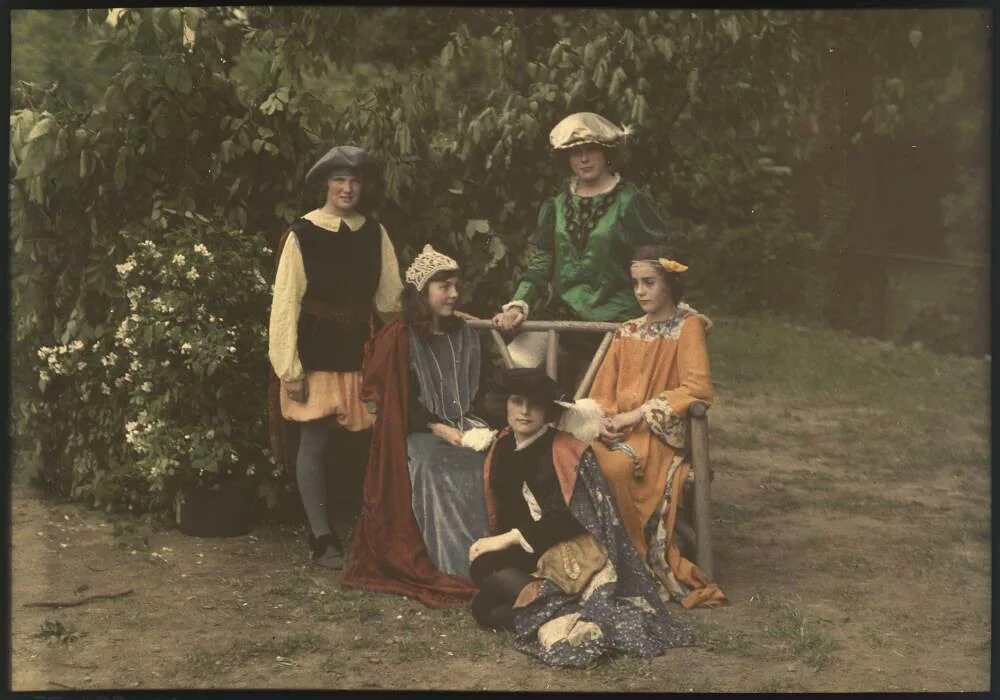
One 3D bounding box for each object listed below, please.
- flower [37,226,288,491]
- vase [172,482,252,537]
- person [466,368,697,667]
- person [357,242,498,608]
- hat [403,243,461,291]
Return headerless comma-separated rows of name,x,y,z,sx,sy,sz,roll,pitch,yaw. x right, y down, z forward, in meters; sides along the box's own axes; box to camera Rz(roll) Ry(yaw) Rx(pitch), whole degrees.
flower,-2.055,0.047,9.768,1.529,1.520,0.757,2,7,7
vase,-1.714,0.968,9.797,0.373,0.249,0.365,1,-6,-12
person,0.429,0.929,9.671,1.468,1.579,1.094,0,2,32
person,-0.420,0.471,9.715,1.018,2.115,0.861,-6,18,-16
hat,-0.415,-0.474,9.802,0.278,0.276,0.127,-38,-14,-1
